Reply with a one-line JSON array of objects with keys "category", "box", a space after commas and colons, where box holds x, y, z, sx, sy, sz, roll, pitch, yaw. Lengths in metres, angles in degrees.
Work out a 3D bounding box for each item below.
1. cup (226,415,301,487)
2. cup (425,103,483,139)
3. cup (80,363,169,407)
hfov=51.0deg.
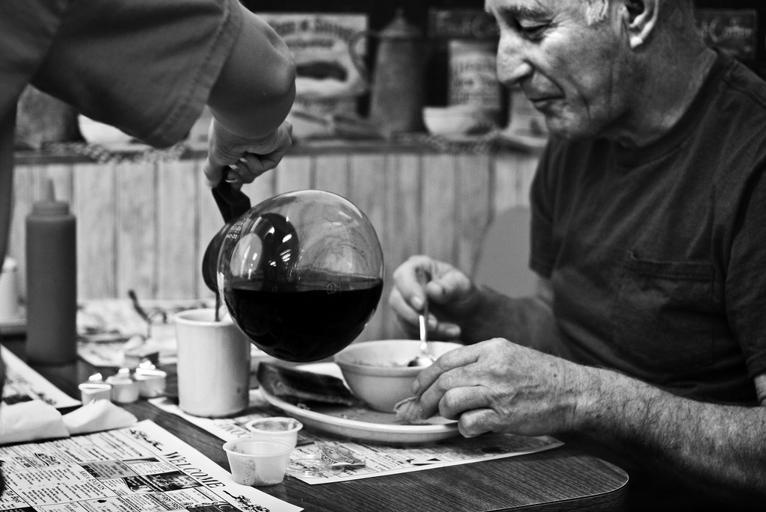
[{"category": "cup", "box": [-0.180, 0.294, 1.240, 0.067, 0.042, 0.101, 1, -1, 11]}, {"category": "cup", "box": [0.192, -0.385, 2.293, 0.121, 0.075, 0.100, -1, 6, 30]}, {"category": "cup", "box": [-0.476, 0.233, 1.490, 0.149, 0.062, 0.068, -7, 11, -36]}]
